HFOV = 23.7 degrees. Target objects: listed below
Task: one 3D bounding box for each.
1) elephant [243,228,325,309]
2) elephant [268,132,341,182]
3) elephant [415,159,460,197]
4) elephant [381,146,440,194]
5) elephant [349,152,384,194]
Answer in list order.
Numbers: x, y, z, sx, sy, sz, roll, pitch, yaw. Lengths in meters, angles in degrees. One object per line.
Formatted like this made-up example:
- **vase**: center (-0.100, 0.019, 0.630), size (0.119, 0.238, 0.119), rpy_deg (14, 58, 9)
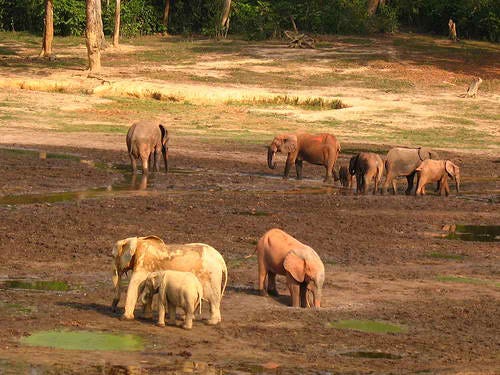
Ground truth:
- **elephant**: center (1.248, 2.495, 35.158), size (1.089, 1.953, 3.352), rpy_deg (-8, 23, -44)
- **elephant**: center (2.177, -1.243, 46.872), size (2.653, 1.894, 0.976), rpy_deg (6, 8, 12)
- **elephant**: center (7.358, -0.393, 46.062), size (2.297, 1.425, 0.774), rpy_deg (1, 6, -25)
- **elephant**: center (6.100, -1.013, 45.973), size (1.730, 1.970, 1.786), rpy_deg (6, 20, 40)
- **elephant**: center (4.647, -0.615, 46.098), size (1.299, 1.583, 2.247), rpy_deg (1, 8, -21)
